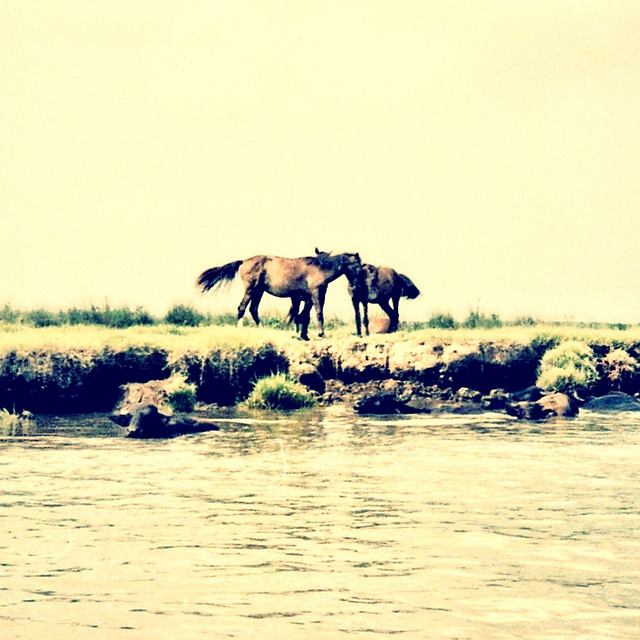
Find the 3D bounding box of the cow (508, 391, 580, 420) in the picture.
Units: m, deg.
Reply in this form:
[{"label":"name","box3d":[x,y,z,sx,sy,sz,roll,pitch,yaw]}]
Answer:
[{"label":"cow","box3d":[3.000,1.183,22.929,0.741,0.235,1.313,6,10,34]}]

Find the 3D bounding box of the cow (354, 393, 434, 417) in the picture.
[{"label":"cow","box3d":[0.956,1.196,23.436,1.116,0.539,0.409,-2,-1,-1]}]
